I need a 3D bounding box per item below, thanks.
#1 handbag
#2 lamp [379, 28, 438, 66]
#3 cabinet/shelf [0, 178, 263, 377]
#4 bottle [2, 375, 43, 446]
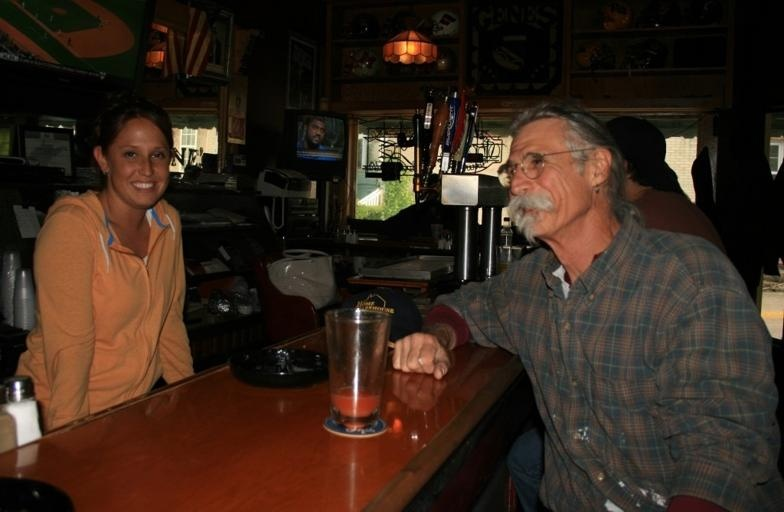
[{"bbox_3d":[-0.603,0.183,4.285,0.523,0.426,0.264,-7,-3,-43],"label":"handbag"},{"bbox_3d":[0.172,-2.057,6.176,0.560,0.261,0.547,1,5,3],"label":"lamp"},{"bbox_3d":[-1.290,0.122,3.050,0.471,1.177,1.315,1,10,20],"label":"cabinet/shelf"},{"bbox_3d":[-0.975,0.399,1.646,0.083,0.179,0.088,0,8,0],"label":"bottle"}]
